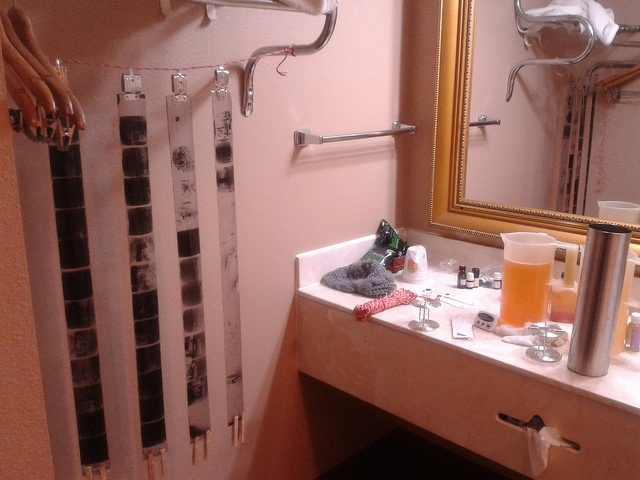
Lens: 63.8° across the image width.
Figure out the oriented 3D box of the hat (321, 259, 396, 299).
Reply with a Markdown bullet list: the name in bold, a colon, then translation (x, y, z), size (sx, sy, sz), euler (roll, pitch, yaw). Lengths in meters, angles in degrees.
- **hat**: translation (0.149, 0.107, 1.875), size (0.154, 0.073, 0.188), euler (-14, 19, -41)

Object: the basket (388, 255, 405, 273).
- **basket**: translation (0.314, 0.097, 2.123), size (0.071, 0.064, 0.054), euler (-12, 22, -37)
